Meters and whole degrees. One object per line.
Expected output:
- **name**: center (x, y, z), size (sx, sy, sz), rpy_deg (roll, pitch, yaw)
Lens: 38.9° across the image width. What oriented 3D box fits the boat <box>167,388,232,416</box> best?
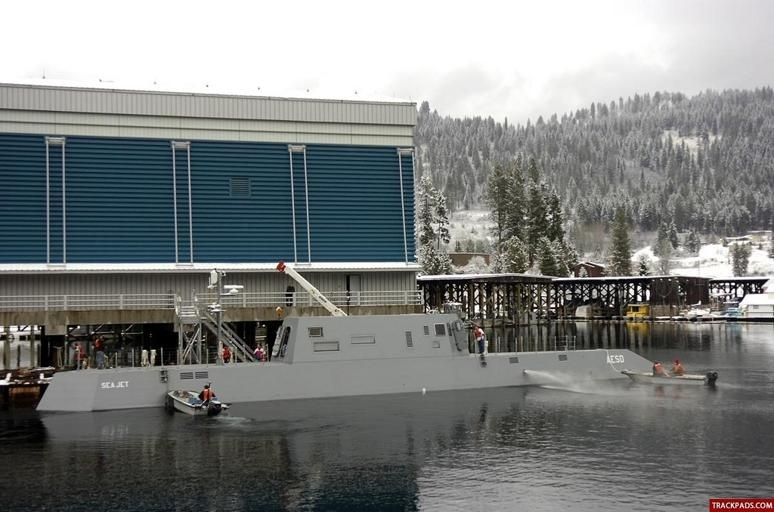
- **boat**: center (-13.033, 10.215, 74.823), size (3.182, 1.038, 1.875), rpy_deg (10, 5, 34)
